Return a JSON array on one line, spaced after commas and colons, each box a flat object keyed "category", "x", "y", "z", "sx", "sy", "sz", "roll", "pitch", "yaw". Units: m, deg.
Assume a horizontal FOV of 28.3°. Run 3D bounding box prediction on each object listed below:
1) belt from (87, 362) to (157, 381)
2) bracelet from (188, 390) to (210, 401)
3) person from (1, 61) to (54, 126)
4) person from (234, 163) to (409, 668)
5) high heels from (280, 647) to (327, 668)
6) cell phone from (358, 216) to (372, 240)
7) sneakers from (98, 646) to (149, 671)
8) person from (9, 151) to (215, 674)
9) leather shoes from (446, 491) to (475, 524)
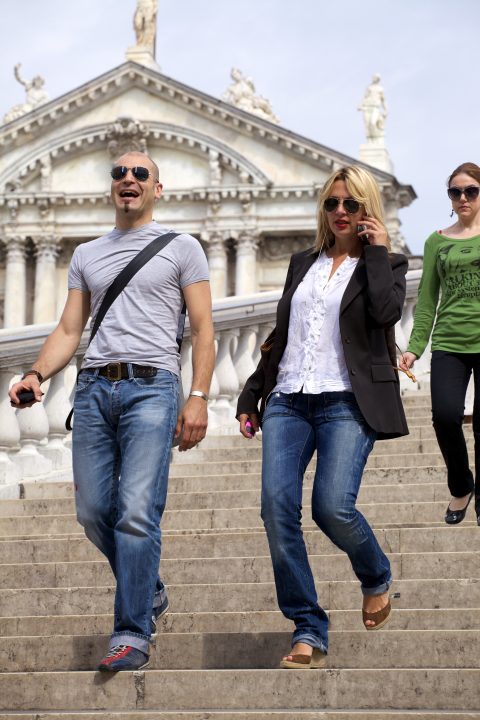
[{"category": "belt", "x": -0.453, "y": 0.045, "z": 3.779, "sx": 0.241, "sy": 0.071, "sz": 0.066, "roll": 1, "pitch": 4, "yaw": 20}, {"category": "bracelet", "x": -0.167, "y": 0.141, "z": 3.804, "sx": 0.070, "sy": 0.048, "sz": 0.088, "roll": 0, "pitch": 4, "yaw": -4}, {"category": "person", "x": -8.348, "y": -10.576, "z": 37.249, "sx": 1.474, "sy": 2.205, "sz": 0.893, "roll": -1, "pitch": 5, "yaw": -11}, {"category": "person", "x": 0.344, "y": 0.152, "z": 3.625, "sx": 0.569, "sy": 1.840, "sz": 0.876, "roll": 1, "pitch": 5, "yaw": 8}, {"category": "high heels", "x": 0.235, "y": 1.049, "z": 3.360, "sx": 0.203, "sy": 0.047, "sz": 0.073, "roll": 15, "pitch": -25, "yaw": -41}, {"category": "cell phone", "x": 0.496, "y": -0.521, "z": 3.792, "sx": 0.057, "sy": 0.060, "sz": 0.052, "roll": 2, "pitch": 0, "yaw": -17}, {"category": "sneakers", "x": -0.416, "y": 1.071, "z": 3.389, "sx": 0.126, "sy": 0.094, "sz": 0.205, "roll": 1, "pitch": 4, "yaw": 9}, {"category": "person", "x": -0.442, "y": 0.101, "z": 3.786, "sx": 0.735, "sy": 1.980, "sz": 0.984, "roll": -2, "pitch": 5, "yaw": -22}, {"category": "leather shoes", "x": 1.149, "y": 0.789, "z": 5.001, "sx": 0.062, "sy": 0.232, "sz": 0.081, "roll": 8, "pitch": 21, "yaw": -41}]
